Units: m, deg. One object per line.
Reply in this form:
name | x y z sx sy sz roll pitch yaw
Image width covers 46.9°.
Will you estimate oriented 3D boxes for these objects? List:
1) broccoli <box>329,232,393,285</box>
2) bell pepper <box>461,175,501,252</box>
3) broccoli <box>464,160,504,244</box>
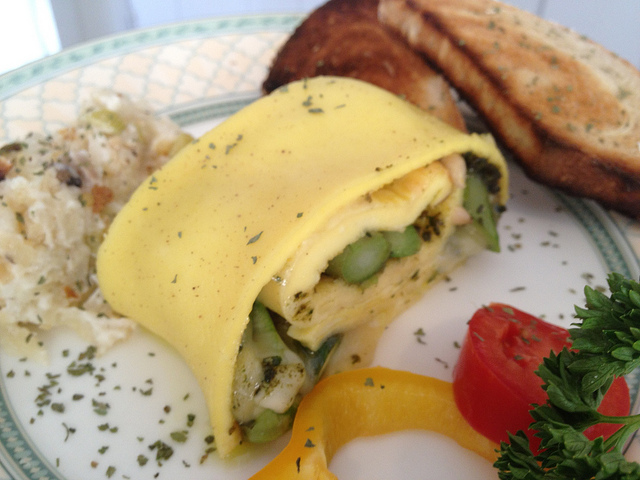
broccoli | 0.171 0.074 2.987 0.246 0.209 0.069 -6 37 -26
bell pepper | 0.746 -0.057 3.348 0.065 0.353 0.229 -30 62 -5
broccoli | 0.726 -0.169 3.286 0.093 0.358 0.245 -5 7 42
